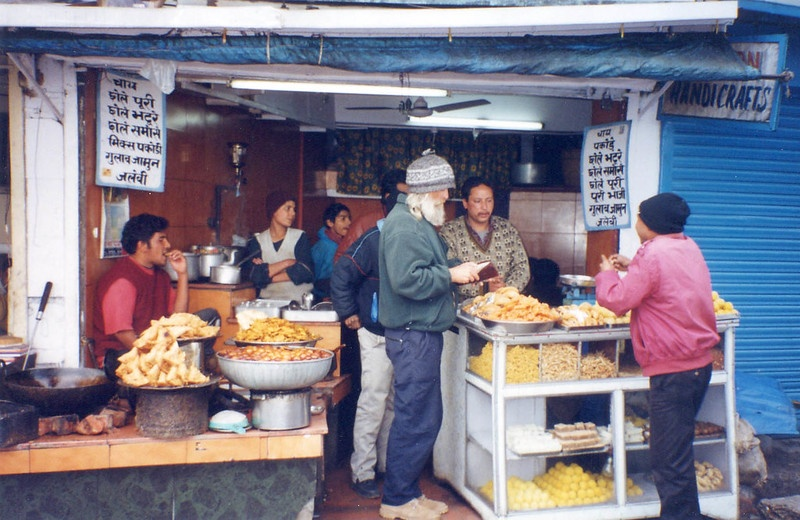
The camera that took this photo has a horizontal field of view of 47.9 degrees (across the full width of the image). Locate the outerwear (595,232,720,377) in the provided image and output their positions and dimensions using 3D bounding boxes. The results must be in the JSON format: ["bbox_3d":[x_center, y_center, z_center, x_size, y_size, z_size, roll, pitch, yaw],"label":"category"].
[{"bbox_3d":[2.267,0.379,7.867,1.186,1.244,0.899,-8,2,-41],"label":"outerwear"}]

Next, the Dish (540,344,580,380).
[{"bbox_3d":[1.387,0.881,7.819,0.339,0.316,0.070,1,6,-17],"label":"Dish"}]

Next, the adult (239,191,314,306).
[{"bbox_3d":[-1.299,-0.151,9.650,0.768,1.146,0.656,2,5,-7],"label":"adult"}]

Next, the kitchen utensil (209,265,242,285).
[{"bbox_3d":[-1.756,0.138,9.103,0.304,0.199,0.165,1,6,-14],"label":"kitchen utensil"}]

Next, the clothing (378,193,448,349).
[{"bbox_3d":[0.195,0.054,8.148,0.765,1.236,1.251,-3,8,-1],"label":"clothing"}]

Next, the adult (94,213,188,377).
[{"bbox_3d":[-2.331,0.349,8.421,0.877,1.514,1.168,6,12,11],"label":"adult"}]

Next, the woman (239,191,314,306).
[{"bbox_3d":[-1.299,-0.151,9.650,0.768,1.146,0.656,2,5,-7],"label":"woman"}]

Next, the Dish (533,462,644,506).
[{"bbox_3d":[1.604,1.963,7.960,0.583,0.208,0.440,1,2,-3],"label":"Dish"}]

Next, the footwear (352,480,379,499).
[{"bbox_3d":[-0.311,2.093,8.273,0.231,0.101,0.117,-2,-3,40],"label":"footwear"}]

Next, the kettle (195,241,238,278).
[{"bbox_3d":[-1.898,-0.014,9.355,0.356,0.257,0.349,-2,4,-35],"label":"kettle"}]

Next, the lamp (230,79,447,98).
[{"bbox_3d":[-0.600,-1.624,8.491,2.166,0.105,0.294,0,11,-15],"label":"lamp"}]

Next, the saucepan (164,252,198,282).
[{"bbox_3d":[-2.185,0.068,9.099,0.278,0.248,0.280,0,-2,-5],"label":"saucepan"}]

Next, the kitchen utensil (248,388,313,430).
[{"bbox_3d":[-0.907,1.274,7.740,0.442,0.276,0.439,-1,-7,-24],"label":"kitchen utensil"}]

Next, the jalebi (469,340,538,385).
[{"bbox_3d":[0.903,0.899,7.878,0.388,0.164,0.381,-1,4,-32],"label":"jalebi"}]

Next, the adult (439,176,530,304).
[{"bbox_3d":[0.865,0.077,9.207,0.948,1.762,0.885,0,12,0],"label":"adult"}]

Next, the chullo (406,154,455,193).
[{"bbox_3d":[0.278,-0.773,7.981,0.458,0.388,0.457,3,10,40],"label":"chullo"}]

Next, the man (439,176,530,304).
[{"bbox_3d":[0.863,0.081,9.214,0.954,1.771,0.835,-1,9,-6],"label":"man"}]

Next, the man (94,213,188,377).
[{"bbox_3d":[-2.318,0.343,8.433,0.851,1.500,1.125,5,12,12],"label":"man"}]

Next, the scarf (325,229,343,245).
[{"bbox_3d":[-0.732,-0.269,10.081,0.182,0.096,0.145,28,-4,15],"label":"scarf"}]

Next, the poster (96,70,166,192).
[{"bbox_3d":[-2.484,-1.181,8.350,0.664,1.049,0.109,-3,7,-43],"label":"poster"}]

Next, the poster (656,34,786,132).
[{"bbox_3d":[3.062,-1.646,8.440,0.242,0.846,1.161,-1,7,-33],"label":"poster"}]

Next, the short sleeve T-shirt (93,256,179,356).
[{"bbox_3d":[-2.388,0.422,8.059,0.414,0.694,0.793,4,7,11],"label":"short sleeve T-shirt"}]

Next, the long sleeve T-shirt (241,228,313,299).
[{"bbox_3d":[-1.267,0.068,9.813,0.747,0.853,0.503,-6,16,8],"label":"long sleeve T-shirt"}]

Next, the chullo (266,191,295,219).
[{"bbox_3d":[-1.295,-0.599,9.817,0.287,0.275,0.226,-8,-3,2],"label":"chullo"}]

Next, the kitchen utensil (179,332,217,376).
[{"bbox_3d":[-1.717,0.817,7.802,0.326,0.370,0.345,0,2,2],"label":"kitchen utensil"}]
